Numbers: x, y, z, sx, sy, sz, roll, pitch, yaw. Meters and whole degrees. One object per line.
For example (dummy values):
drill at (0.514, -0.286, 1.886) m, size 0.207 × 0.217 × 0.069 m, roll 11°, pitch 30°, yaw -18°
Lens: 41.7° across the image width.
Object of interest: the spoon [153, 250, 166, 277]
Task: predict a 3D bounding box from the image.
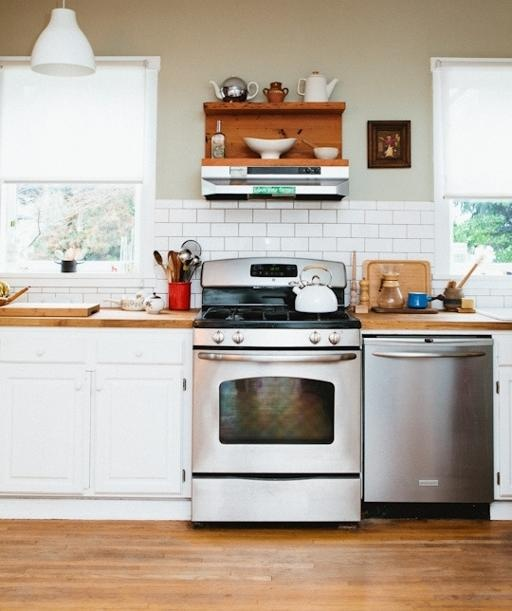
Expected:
spoon at (-0.518, -0.224, 3.584) m, size 0.031 × 0.039 × 0.195 m, roll 27°, pitch -21°, yaw 25°

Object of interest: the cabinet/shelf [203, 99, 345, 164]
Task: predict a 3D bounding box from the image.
cabinet/shelf at (0.083, -0.894, 3.542) m, size 0.749 × 0.292 × 0.216 m, roll 2°, pitch 7°, yaw 10°

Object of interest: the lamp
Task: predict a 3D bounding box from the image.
lamp at (-0.875, -1.125, 3.011) m, size 0.288 × 0.334 × 0.291 m, roll -2°, pitch 12°, yaw -29°

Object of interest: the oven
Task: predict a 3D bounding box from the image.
oven at (0.090, 0.596, 3.281) m, size 0.763 × 0.751 × 0.685 m, roll 0°, pitch 1°, yaw -1°

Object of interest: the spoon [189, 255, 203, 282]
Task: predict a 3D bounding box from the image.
spoon at (-0.334, -0.197, 3.596) m, size 0.082 × 0.159 × 0.174 m, roll -1°, pitch 10°, yaw -4°

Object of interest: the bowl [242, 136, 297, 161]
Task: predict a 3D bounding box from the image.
bowl at (0.067, -0.792, 3.411) m, size 0.253 × 0.099 × 0.107 m, roll 1°, pitch 10°, yaw 6°

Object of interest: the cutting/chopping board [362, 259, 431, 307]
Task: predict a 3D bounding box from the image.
cutting/chopping board at (0.774, -0.103, 3.576) m, size 0.371 × 0.249 × 0.165 m, roll 3°, pitch 9°, yaw -4°

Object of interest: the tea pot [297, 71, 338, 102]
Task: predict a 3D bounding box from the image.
tea pot at (0.311, -1.128, 3.516) m, size 0.251 × 0.157 × 0.158 m, roll 2°, pitch 7°, yaw 3°

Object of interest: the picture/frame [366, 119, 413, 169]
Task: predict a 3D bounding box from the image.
picture/frame at (0.719, -0.863, 3.641) m, size 0.225 × 0.253 × 0.041 m, roll 0°, pitch 11°, yaw -1°

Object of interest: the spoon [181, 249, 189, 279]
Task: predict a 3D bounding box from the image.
spoon at (-0.372, -0.202, 3.511) m, size 0.058 × 0.164 × 0.057 m, roll 3°, pitch 11°, yaw 16°

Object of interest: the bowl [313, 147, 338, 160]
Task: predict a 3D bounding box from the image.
bowl at (0.348, -0.770, 3.417) m, size 0.106 × 0.062 × 0.119 m, roll -1°, pitch 10°, yaw -7°

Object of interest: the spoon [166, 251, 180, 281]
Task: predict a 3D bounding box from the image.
spoon at (-0.433, -0.199, 3.499) m, size 0.053 × 0.167 × 0.025 m, roll 1°, pitch 9°, yaw 2°

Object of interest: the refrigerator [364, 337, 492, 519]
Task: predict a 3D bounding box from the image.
refrigerator at (0.721, 0.542, 3.174) m, size 0.629 × 0.742 × 0.530 m, roll 0°, pitch 1°, yaw 0°

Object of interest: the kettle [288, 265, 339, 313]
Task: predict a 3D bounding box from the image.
kettle at (0.273, -0.090, 3.214) m, size 0.263 × 0.204 × 0.185 m, roll 0°, pitch 9°, yaw 12°

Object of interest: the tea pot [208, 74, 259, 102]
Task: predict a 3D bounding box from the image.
tea pot at (-0.118, -1.121, 3.514) m, size 0.249 × 0.117 × 0.148 m, roll 3°, pitch 13°, yaw 3°

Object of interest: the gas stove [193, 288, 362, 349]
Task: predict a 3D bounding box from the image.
gas stove at (0.096, 0.055, 3.227) m, size 0.746 × 0.193 × 0.581 m, roll 0°, pitch 10°, yaw 0°

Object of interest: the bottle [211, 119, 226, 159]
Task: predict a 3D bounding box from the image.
bottle at (-0.201, -0.866, 3.515) m, size 0.074 × 0.197 × 0.137 m, roll 0°, pitch 11°, yaw -3°

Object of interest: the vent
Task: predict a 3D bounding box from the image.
vent at (0.092, -0.615, 3.326) m, size 0.723 × 0.141 × 0.126 m, roll 0°, pitch 10°, yaw -3°

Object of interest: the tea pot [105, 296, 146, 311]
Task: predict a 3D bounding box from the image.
tea pot at (-0.665, -0.004, 3.437) m, size 0.202 × 0.055 × 0.110 m, roll -3°, pitch -1°, yaw 6°

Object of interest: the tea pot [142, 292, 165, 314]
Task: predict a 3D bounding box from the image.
tea pot at (-0.499, -0.006, 3.337) m, size 0.118 × 0.093 × 0.089 m, roll 3°, pitch 4°, yaw 44°
